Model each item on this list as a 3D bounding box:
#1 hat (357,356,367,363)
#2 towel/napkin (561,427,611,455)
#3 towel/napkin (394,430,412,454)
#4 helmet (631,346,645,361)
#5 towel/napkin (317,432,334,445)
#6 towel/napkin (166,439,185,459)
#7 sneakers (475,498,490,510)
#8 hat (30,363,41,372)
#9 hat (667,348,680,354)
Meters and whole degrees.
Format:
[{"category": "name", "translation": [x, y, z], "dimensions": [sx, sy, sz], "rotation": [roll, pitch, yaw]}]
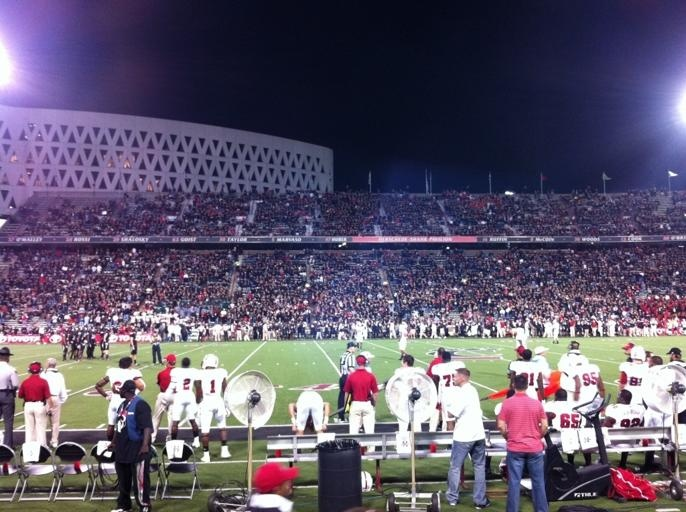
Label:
[{"category": "hat", "translation": [0.493, 2.749, 19.417], "dimensions": [0.250, 0.246, 0.238], "rotation": [0, -13, -1]}, {"category": "towel/napkin", "translation": [5.984, 4.549, 18.087], "dimensions": [0.990, 0.648, 0.278], "rotation": [-2, -5, -5]}, {"category": "towel/napkin", "translation": [1.516, 4.651, 18.172], "dimensions": [0.339, 0.551, 0.248], "rotation": [0, -12, -2]}, {"category": "helmet", "translation": [8.391, 2.734, 20.558], "dimensions": [0.345, 0.427, 0.457], "rotation": [7, 1, 16]}, {"category": "towel/napkin", "translation": [-0.402, 4.497, 17.977], "dimensions": [0.438, 0.271, 1.003], "rotation": [0, -13, -2]}, {"category": "towel/napkin", "translation": [-4.218, 4.844, 18.307], "dimensions": [0.424, 0.466, 0.115], "rotation": [2, -6, 2]}, {"category": "sneakers", "translation": [3.397, 6.005, 17.690], "dimensions": [0.393, 0.178, 0.165], "rotation": [3, -5, -39]}, {"category": "hat", "translation": [-8.714, 3.150, 20.651], "dimensions": [0.310, 0.301, 0.379], "rotation": [5, -14, -24]}, {"category": "hat", "translation": [9.258, 2.648, 20.378], "dimensions": [0.209, 0.165, 0.281], "rotation": [5, -1, -41]}]
